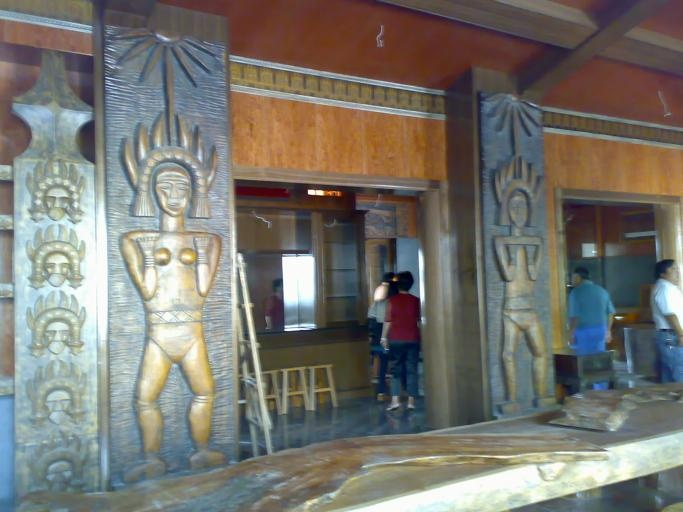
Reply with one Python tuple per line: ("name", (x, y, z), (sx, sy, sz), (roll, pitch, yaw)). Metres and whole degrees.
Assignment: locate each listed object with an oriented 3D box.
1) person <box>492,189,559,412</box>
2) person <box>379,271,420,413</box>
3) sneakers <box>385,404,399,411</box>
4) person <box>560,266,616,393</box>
("person", (1.603, 0.362, 5.975), (0.498, 1.839, 0.704), (0, 15, 5))
("person", (0.649, 0.965, 7.361), (0.412, 1.586, 0.853), (-1, 15, 4))
("sneakers", (0.537, 1.617, 7.189), (0.058, 0.066, 0.156), (7, -9, -40))
("person", (2.520, 0.551, 6.792), (0.430, 0.736, 0.527), (4, 16, 20))
